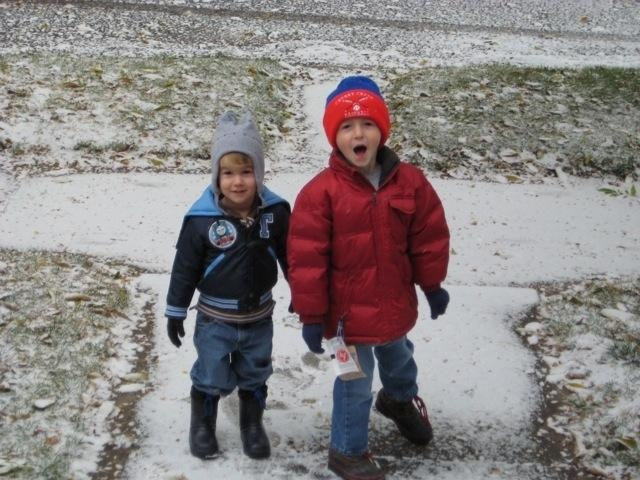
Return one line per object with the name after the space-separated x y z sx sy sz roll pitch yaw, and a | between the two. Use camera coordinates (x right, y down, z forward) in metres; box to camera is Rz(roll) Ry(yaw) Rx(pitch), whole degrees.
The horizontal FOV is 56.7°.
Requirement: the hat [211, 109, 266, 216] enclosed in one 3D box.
-0.579 -0.539 4.156 0.356 0.612 0.476 -1 26 -11 | hat

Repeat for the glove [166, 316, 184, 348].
-1.006 0.624 4.160 0.159 0.232 0.108 4 -3 -22 | glove

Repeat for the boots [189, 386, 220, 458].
-0.842 1.278 4.250 0.203 0.365 0.541 6 8 -13 | boots

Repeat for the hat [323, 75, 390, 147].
0.229 -0.896 4.202 0.406 0.451 0.509 -4 1 2 | hat

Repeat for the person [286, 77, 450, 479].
0.310 0.277 4.056 1.053 2.521 1.083 16 28 22 | person

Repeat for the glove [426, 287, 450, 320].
0.819 0.432 4.101 0.178 0.213 0.064 -16 14 4 | glove

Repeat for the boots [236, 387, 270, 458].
-0.475 1.284 4.293 0.208 0.404 0.583 -2 3 -14 | boots

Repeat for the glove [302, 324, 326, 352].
-0.028 0.632 3.927 0.161 0.195 0.145 -3 26 -16 | glove
